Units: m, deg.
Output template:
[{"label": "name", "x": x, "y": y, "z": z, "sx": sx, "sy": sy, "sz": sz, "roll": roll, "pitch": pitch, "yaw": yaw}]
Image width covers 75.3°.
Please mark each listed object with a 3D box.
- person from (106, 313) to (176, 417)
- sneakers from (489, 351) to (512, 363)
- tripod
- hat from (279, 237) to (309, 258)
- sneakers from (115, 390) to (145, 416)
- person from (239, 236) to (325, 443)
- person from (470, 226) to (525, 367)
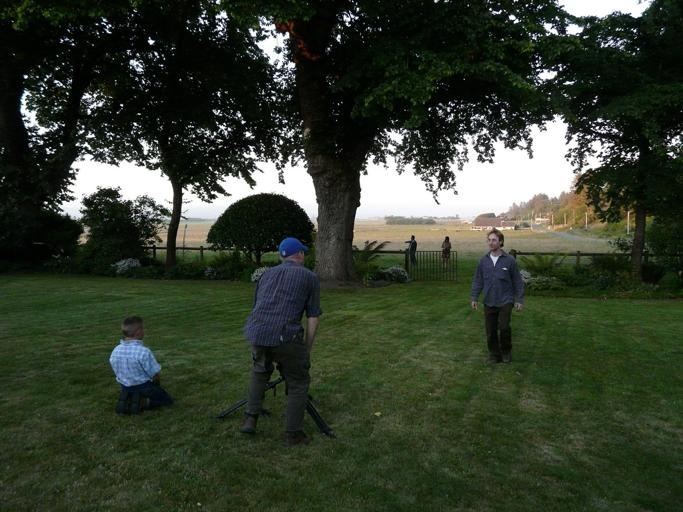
[{"label": "person", "x": -2.499, "y": 1.368, "z": 5.540, "sx": 0.668, "sy": 1.199, "sz": 0.280, "roll": -2, "pitch": 6, "yaw": -23}, {"label": "sneakers", "x": 2.691, "y": 1.740, "z": 7.508, "sx": 0.354, "sy": 0.147, "sz": 0.148, "roll": 5, "pitch": -6, "yaw": -14}, {"label": "tripod", "x": -0.670, "y": 1.861, "z": 5.384, "sx": 0.922, "sy": 0.377, "sz": 0.934, "roll": 3, "pitch": 4, "yaw": 14}, {"label": "hat", "x": -0.558, "y": -0.086, "z": 5.210, "sx": 0.205, "sy": 0.160, "sz": 0.302, "roll": 8, "pitch": 19, "yaw": 37}, {"label": "sneakers", "x": -2.617, "y": 1.831, "z": 5.491, "sx": 0.198, "sy": 0.424, "sz": 0.179, "roll": 0, "pitch": -13, "yaw": 7}, {"label": "person", "x": -0.677, "y": 0.963, "z": 5.012, "sx": 0.853, "sy": 2.298, "sz": 0.517, "roll": 1, "pitch": 5, "yaw": 3}, {"label": "person", "x": 2.774, "y": 0.649, "z": 7.895, "sx": 0.861, "sy": 2.240, "sz": 1.135, "roll": 2, "pitch": 6, "yaw": 17}]
